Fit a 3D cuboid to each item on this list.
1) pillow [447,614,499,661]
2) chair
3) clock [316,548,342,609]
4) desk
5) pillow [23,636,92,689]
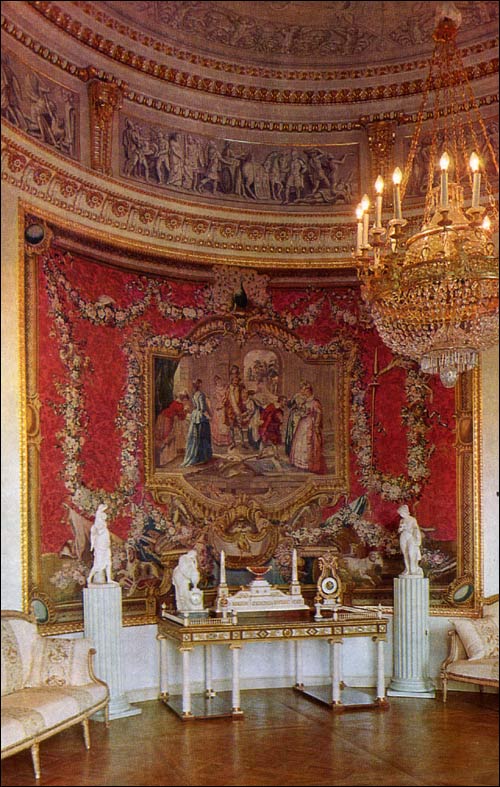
[{"bbox_3d":[2.302,2.423,9.667,0.384,0.396,0.119,-3,-25,2],"label":"pillow"},{"bbox_3d":[2.243,2.596,9.762,0.700,0.993,0.756,-11,-19,40],"label":"chair"},{"bbox_3d":[0.836,1.934,9.989,0.260,0.548,0.511,-1,-4,5],"label":"clock"},{"bbox_3d":[0.194,2.587,9.598,2.139,0.990,1.464,0,-4,-10],"label":"desk"},{"bbox_3d":[-1.578,2.262,8.144,0.423,0.412,0.111,10,-19,-24],"label":"pillow"}]
